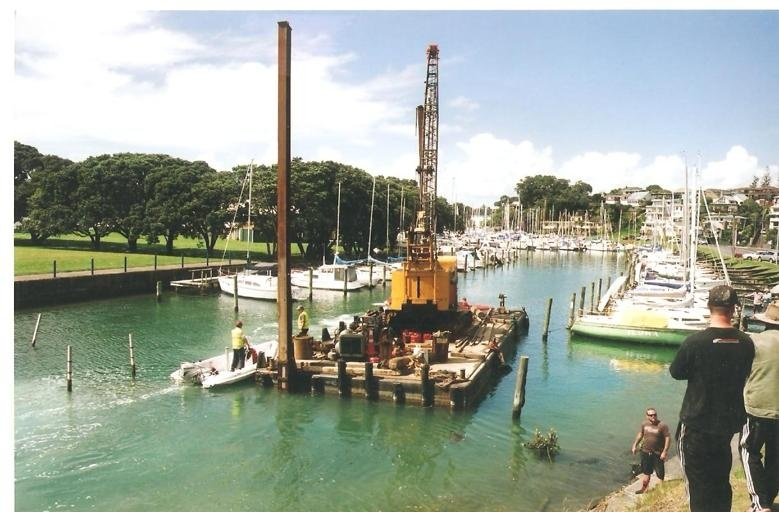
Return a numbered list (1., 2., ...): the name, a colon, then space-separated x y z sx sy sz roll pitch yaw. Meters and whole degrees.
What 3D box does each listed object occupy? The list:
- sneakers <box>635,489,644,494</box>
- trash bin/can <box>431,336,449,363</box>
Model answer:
1. sneakers: 9.837 9.310 27.295 0.312 0.140 0.257 2 2 29
2. trash bin/can: 2.599 4.986 37.034 0.972 1.455 0.480 1 2 -6
